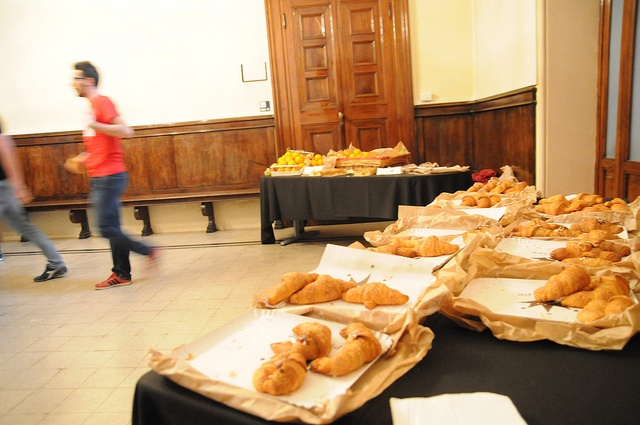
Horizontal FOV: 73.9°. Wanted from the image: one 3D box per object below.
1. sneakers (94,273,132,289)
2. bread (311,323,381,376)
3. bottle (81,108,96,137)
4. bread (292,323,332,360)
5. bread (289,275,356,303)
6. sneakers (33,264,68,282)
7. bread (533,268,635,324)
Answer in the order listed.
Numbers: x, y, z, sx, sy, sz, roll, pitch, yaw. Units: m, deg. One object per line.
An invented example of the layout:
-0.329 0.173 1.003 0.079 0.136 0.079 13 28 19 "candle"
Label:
-1.897 0.643 3.958 0.373 0.144 0.121 2 -4 -21 "sneakers"
0.079 0.325 1.089 0.134 0.180 0.053 -1 27 -29 "bread"
-1.921 -0.736 3.515 0.096 0.225 0.332 -12 15 -27 "bottle"
-0.025 0.313 1.118 0.072 0.045 0.128 9 4 7 "bread"
0.009 0.242 1.313 0.182 0.053 0.078 -5 8 -18 "bread"
-2.657 0.600 4.196 0.330 0.139 0.108 0 -2 -36 "sneakers"
0.776 0.234 1.242 0.166 0.061 0.196 -26 15 -27 "bread"
